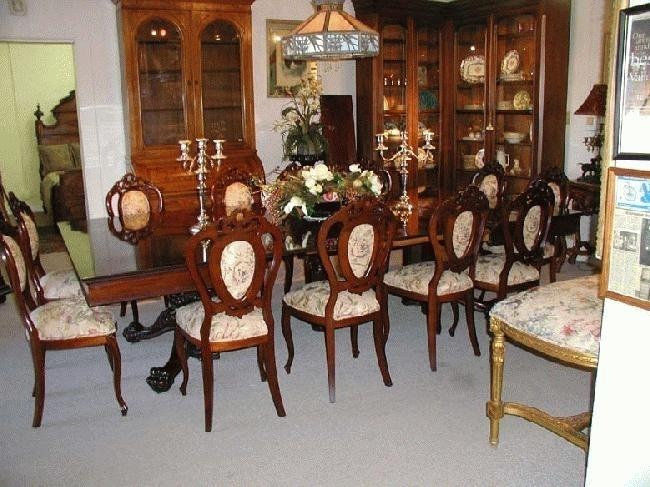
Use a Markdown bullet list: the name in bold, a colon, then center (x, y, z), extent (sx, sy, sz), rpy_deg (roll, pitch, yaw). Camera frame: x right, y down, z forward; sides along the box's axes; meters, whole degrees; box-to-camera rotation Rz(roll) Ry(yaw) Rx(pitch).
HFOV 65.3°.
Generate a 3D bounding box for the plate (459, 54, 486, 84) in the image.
- **plate**: center (1.779, -2.073, 6.054), extent (0.256, 0.333, 0.054), rpy_deg (7, 14, 39)

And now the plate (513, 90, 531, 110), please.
- **plate**: center (2.174, -1.569, 5.573), extent (0.045, 0.210, 0.261), rpy_deg (-8, 16, -16)

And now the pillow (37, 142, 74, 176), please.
- **pillow**: center (-4.384, -1.372, 8.249), extent (0.590, 0.522, 0.313), rpy_deg (-11, 13, -26)

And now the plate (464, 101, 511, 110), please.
- **plate**: center (1.916, -1.606, 5.971), extent (0.109, 0.095, 0.698), rpy_deg (-12, 18, -27)

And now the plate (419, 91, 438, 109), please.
- **plate**: center (1.286, -1.780, 6.296), extent (0.219, 0.161, 0.191), rpy_deg (-6, 17, -22)

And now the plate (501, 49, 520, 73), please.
- **plate**: center (2.070, -2.007, 5.631), extent (0.055, 0.250, 0.227), rpy_deg (-11, 17, -25)
